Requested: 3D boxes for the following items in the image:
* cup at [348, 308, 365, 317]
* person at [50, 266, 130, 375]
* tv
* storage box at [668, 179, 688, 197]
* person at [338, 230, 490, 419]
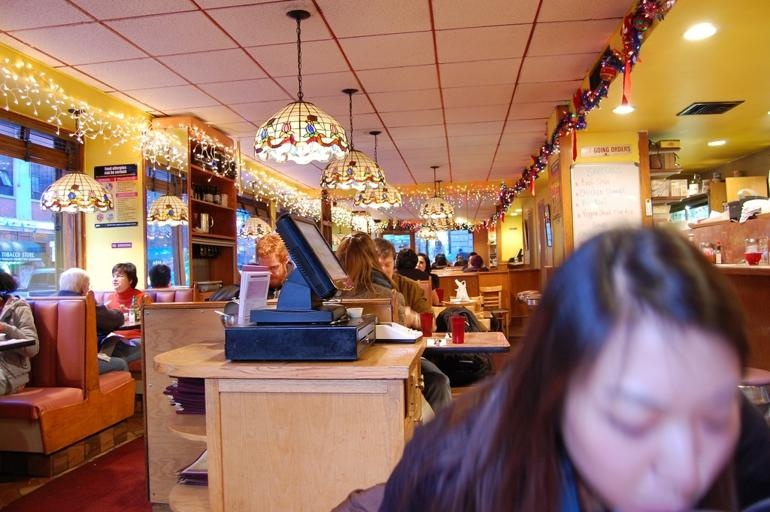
[{"bbox_3d":[-0.140,0.276,2.782,0.047,0.028,0.046,-7,0,0],"label":"cup"},{"bbox_3d":[-2.548,0.626,5.111,0.375,0.524,0.704,12,-23,-30],"label":"person"},{"bbox_3d":[-0.357,0.098,2.752,0.441,0.521,0.534,-1,-5,2],"label":"tv"},{"bbox_3d":[3.838,-0.871,7.456,0.208,0.223,0.322,-3,9,26],"label":"storage box"},{"bbox_3d":[0.269,0.473,4.664,0.999,1.246,1.683,-2,1,5],"label":"person"}]
